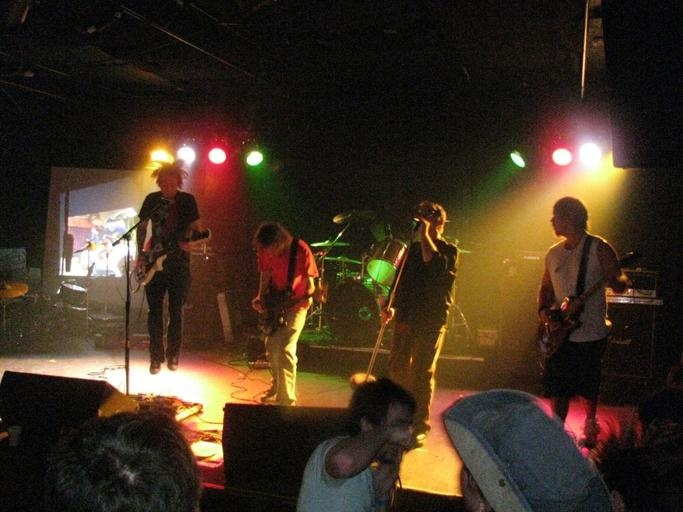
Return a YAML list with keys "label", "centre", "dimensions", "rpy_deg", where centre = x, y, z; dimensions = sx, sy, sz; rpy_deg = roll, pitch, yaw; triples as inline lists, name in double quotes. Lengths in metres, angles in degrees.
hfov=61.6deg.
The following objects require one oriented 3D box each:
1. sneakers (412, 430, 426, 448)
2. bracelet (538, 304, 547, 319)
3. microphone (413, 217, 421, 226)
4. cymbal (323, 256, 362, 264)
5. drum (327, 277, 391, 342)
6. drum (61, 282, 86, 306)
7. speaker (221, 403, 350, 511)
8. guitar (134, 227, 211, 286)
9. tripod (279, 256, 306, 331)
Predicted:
- label: "sneakers"
  centre: [0.711, 1.659, 5.179]
  dimensions: [0.110, 0.125, 0.141]
  rpy_deg: [0, -23, 2]
- label: "bracelet"
  centre: [1.791, 0.489, 5.072]
  dimensions: [0.097, 0.092, 0.086]
  rpy_deg: [0, -1, 22]
- label: "microphone"
  centre: [0.698, -0.322, 5.237]
  dimensions: [0.048, 0.074, 0.071]
  rpy_deg: [-28, 21, 26]
- label: "cymbal"
  centre: [0.024, 0.049, 8.631]
  dimensions: [0.255, 0.060, 0.253]
  rpy_deg: [9, -7, -27]
- label: "drum"
  centre: [0.114, 0.816, 8.626]
  dimensions: [0.674, 0.941, 0.313]
  rpy_deg: [-3, -10, 26]
- label: "drum"
  centre: [-4.606, 0.665, 9.834]
  dimensions: [0.621, 0.430, 0.241]
  rpy_deg: [3, -3, 36]
- label: "speaker"
  centre: [-0.373, 1.395, 4.372]
  dimensions: [1.157, 0.625, 0.781]
  rpy_deg: [2, -5, 3]
- label: "guitar"
  centre: [-1.714, 0.011, 6.110]
  dimensions: [0.738, 0.621, 0.713]
  rpy_deg: [5, -2, 3]
- label: "tripod"
  centre: [-0.500, 0.360, 5.820]
  dimensions: [0.118, 0.830, 0.127]
  rpy_deg: [5, -8, 13]
